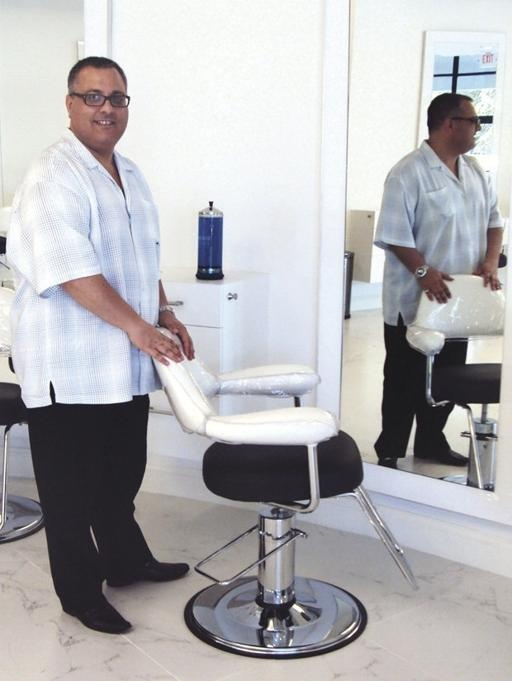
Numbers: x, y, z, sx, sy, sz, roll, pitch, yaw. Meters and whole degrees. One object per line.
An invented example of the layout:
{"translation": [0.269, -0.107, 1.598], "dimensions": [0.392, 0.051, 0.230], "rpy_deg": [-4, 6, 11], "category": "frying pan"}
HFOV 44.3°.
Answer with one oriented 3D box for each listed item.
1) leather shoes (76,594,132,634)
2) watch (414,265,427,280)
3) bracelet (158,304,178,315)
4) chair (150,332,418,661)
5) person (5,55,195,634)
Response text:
{"translation": [-0.388, 0.690, 1.608], "dimensions": [0.136, 0.049, 0.069], "rpy_deg": [3, 1, 34], "category": "leather shoes"}
{"translation": [0.531, -0.219, 2.031], "dimensions": [0.032, 0.043, 0.015], "rpy_deg": [42, 21, 19], "category": "watch"}
{"translation": [-0.248, -0.087, 1.827], "dimensions": [0.018, 0.044, 0.049], "rpy_deg": [-30, 13, -13], "category": "bracelet"}
{"translation": [0.076, 0.364, 1.654], "dimensions": [0.715, 0.735, 0.544], "rpy_deg": [0, 5, 0], "category": "chair"}
{"translation": [-0.408, 0.025, 1.612], "dimensions": [0.402, 1.446, 0.397], "rpy_deg": [0, 6, -7], "category": "person"}
